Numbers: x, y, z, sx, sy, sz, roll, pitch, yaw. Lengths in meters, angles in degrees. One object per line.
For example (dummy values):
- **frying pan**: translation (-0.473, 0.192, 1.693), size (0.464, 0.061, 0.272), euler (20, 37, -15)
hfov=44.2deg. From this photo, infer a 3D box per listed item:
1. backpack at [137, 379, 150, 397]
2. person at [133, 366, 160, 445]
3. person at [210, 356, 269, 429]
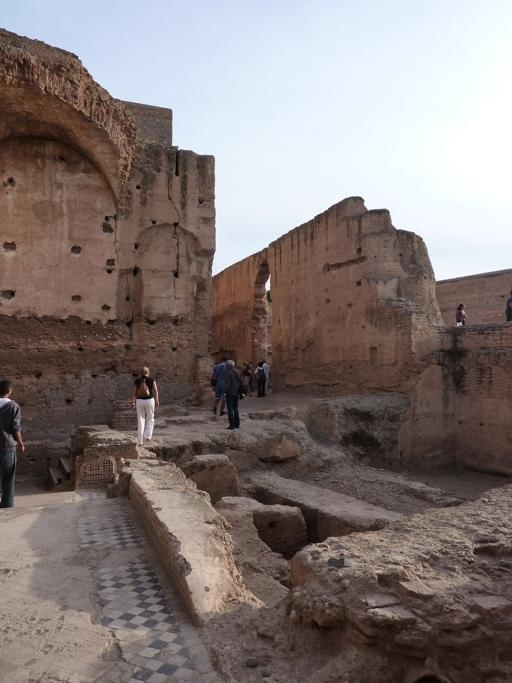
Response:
- **backpack**: translation (-1.147, 0.469, 6.346), size (0.153, 0.228, 0.135), euler (1, -14, -7)
- **person**: translation (-1.155, 0.676, 6.561), size (0.242, 0.804, 0.578), euler (-5, 5, -11)
- **person**: translation (-0.375, 0.658, 8.251), size (0.415, 0.876, 0.974), euler (-5, 5, -4)
